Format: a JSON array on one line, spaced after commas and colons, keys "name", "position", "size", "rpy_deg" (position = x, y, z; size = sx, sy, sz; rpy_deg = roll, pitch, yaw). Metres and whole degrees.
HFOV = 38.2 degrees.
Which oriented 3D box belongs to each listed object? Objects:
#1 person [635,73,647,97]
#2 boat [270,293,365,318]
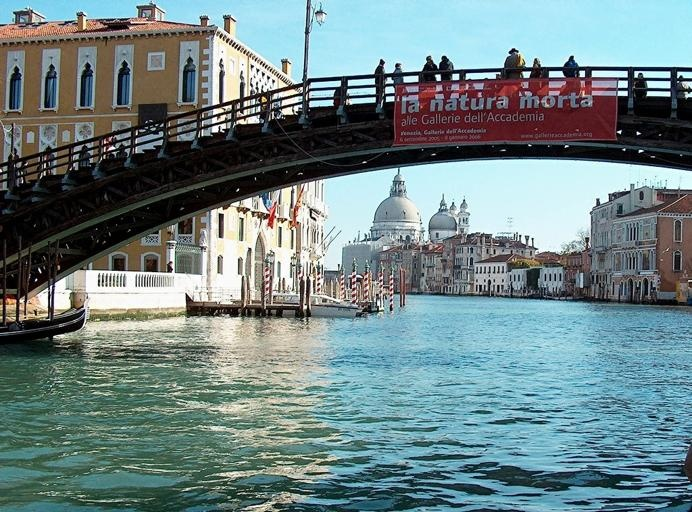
[{"name": "person", "position": [8.753, -5.088, 29.686], "size": [0.362, 0.699, 1.167], "rpy_deg": [0, -1, 16]}, {"name": "boat", "position": [-1.161, 2.982, 55.757], "size": [6.210, 1.239, 1.664], "rpy_deg": [3, 2, 3]}]
